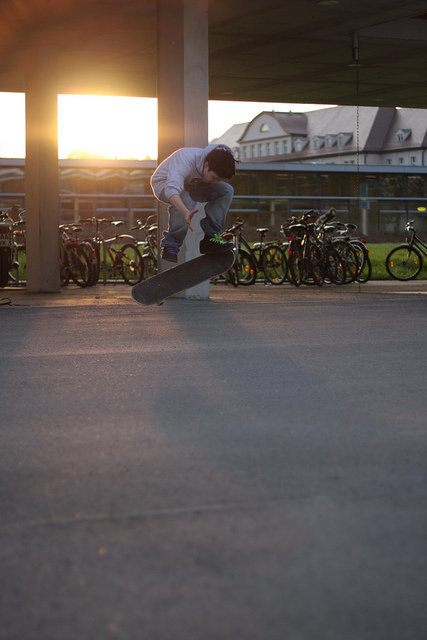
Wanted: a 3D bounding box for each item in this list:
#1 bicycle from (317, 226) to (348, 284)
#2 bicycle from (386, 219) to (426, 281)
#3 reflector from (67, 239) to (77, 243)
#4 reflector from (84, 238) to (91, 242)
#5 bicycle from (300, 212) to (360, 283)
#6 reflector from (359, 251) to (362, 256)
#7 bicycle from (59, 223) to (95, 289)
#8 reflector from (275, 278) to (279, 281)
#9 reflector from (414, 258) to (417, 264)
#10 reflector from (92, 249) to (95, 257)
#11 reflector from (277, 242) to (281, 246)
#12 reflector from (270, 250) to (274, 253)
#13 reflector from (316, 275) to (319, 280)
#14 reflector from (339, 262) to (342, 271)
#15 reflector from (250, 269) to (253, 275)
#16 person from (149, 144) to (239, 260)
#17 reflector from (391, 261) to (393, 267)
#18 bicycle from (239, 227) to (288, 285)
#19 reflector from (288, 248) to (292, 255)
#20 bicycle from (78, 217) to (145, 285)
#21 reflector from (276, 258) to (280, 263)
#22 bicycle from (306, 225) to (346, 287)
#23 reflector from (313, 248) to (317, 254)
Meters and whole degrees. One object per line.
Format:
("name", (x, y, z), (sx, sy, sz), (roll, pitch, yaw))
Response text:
("bicycle", (2.119, -1.164, 10.760), (0.476, 1.045, 0.367), (-5, 10, -14))
("bicycle", (4.073, -1.374, 12.753), (0.807, 1.135, 0.952), (-1, 10, 11))
("reflector", (-2.537, -1.404, 10.713), (0.068, 0.079, 0.259), (-11, 13, -41))
("reflector", (-2.280, -1.447, 10.815), (0.089, 0.082, 0.086), (2, 2, -1))
("bicycle", (2.159, -1.311, 11.526), (1.102, 1.251, 2.119), (-1, 5, -22))
("reflector", (2.710, -1.235, 11.084), (0.024, 0.081, 0.023), (-8, 12, -6))
("bicycle", (-2.472, -1.094, 10.833), (0.939, 1.036, 0.430), (6, 13, 42))
("reflector", (1.267, -0.815, 11.964), (0.044, 0.042, 0.042), (3, -9, 32))
("reflector", (4.295, -1.253, 12.737), (0.034, 0.104, 0.044), (-3, 6, 27))
("reflector", (-2.087, -1.165, 10.424), (0.040, 0.137, 0.171), (-4, 10, -9))
("reflector", (1.293, -1.523, 11.925), (0.082, 0.075, 0.022), (8, 8, 34))
("reflector", (1.136, -1.344, 11.696), (0.056, 0.052, 0.014), (5, 9, 10))
("reflector", (1.867, -0.765, 10.781), (0.044, 0.084, 0.032), (1, -10, 9))
("reflector", (2.269, -0.974, 10.727), (0.044, 0.152, 0.027), (-8, 13, 17))
("reflector", (0.748, -0.957, 11.808), (0.030, 0.102, 0.019), (-1, 36, -5))
("person", (-0.171, -1.067, 5.322), (0.765, 1.022, 0.793), (-16, 34, -36))
("reflector", (3.805, -1.204, 12.816), (0.054, 0.089, 0.024), (4, 5, -29))
("bicycle", (0.942, -1.173, 11.909), (0.731, 0.794, 1.352), (-8, 18, -30))
("reflector", (1.407, -1.268, 11.081), (0.067, 0.034, 0.236), (-1, -20, 5))
("bicycle", (-1.730, -1.269, 11.403), (1.590, 0.959, 1.000), (13, 17, 38))
("reflector", (1.253, -1.181, 11.756), (0.097, 0.089, 0.022), (4, 6, 1))
("bicycle", (2.012, -1.152, 10.730), (0.678, 1.077, 0.359), (-5, 10, -13))
("reflector", (1.809, -1.239, 10.682), (0.029, 0.092, 0.018), (-17, 8, 11))
